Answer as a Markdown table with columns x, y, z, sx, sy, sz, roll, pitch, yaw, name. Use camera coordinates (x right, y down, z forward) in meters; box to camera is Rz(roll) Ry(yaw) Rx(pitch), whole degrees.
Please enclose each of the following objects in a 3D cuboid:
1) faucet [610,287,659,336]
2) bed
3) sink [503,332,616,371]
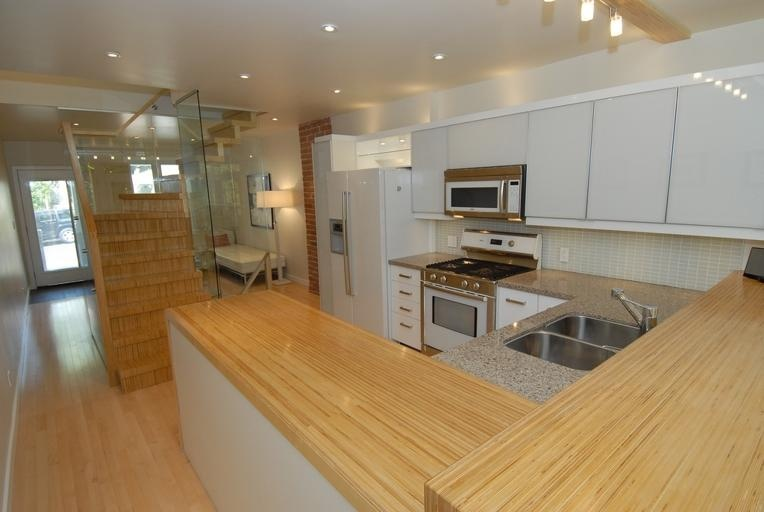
| x | y | z | sx | sy | sz | roll | pitch | yaw | name |
| --- | --- | --- | --- | --- | --- | --- | --- | --- | --- |
| 1.592 | 0.342 | 3.007 | 0.285 | 0.300 | 0.221 | -14 | 16 | -42 | faucet |
| -1.773 | 0.041 | 5.849 | 0.745 | 0.437 | 0.425 | 16 | 27 | 37 | bed |
| 1.174 | 0.542 | 3.041 | 0.353 | 0.168 | 0.418 | -17 | 24 | -36 | sink |
